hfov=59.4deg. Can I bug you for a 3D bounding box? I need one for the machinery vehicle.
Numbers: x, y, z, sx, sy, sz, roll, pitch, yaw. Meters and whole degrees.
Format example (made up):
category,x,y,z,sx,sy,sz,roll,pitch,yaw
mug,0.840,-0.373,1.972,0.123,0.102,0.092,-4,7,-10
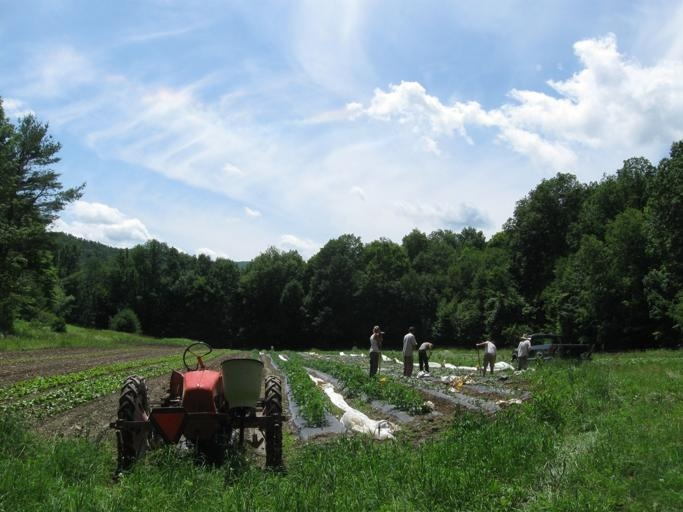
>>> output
category,x,y,z,sx,sy,sz,roll,pitch,yaw
machinery vehicle,-3.414,3.771,16.293,2.393,2.334,4.234,1,-8,-4
